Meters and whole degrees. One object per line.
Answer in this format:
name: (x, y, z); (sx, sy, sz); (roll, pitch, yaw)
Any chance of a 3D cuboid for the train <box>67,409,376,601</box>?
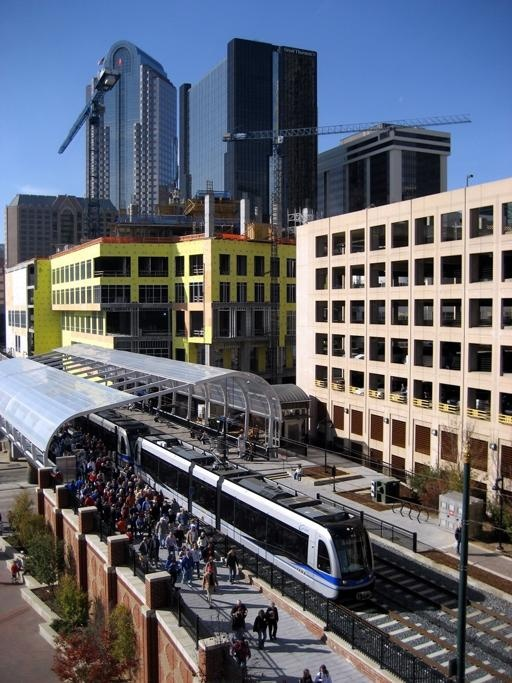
train: (-3.086, 5.555, 35.809); (1.940, 2.716, 25.687); (-1, 2, -27)
